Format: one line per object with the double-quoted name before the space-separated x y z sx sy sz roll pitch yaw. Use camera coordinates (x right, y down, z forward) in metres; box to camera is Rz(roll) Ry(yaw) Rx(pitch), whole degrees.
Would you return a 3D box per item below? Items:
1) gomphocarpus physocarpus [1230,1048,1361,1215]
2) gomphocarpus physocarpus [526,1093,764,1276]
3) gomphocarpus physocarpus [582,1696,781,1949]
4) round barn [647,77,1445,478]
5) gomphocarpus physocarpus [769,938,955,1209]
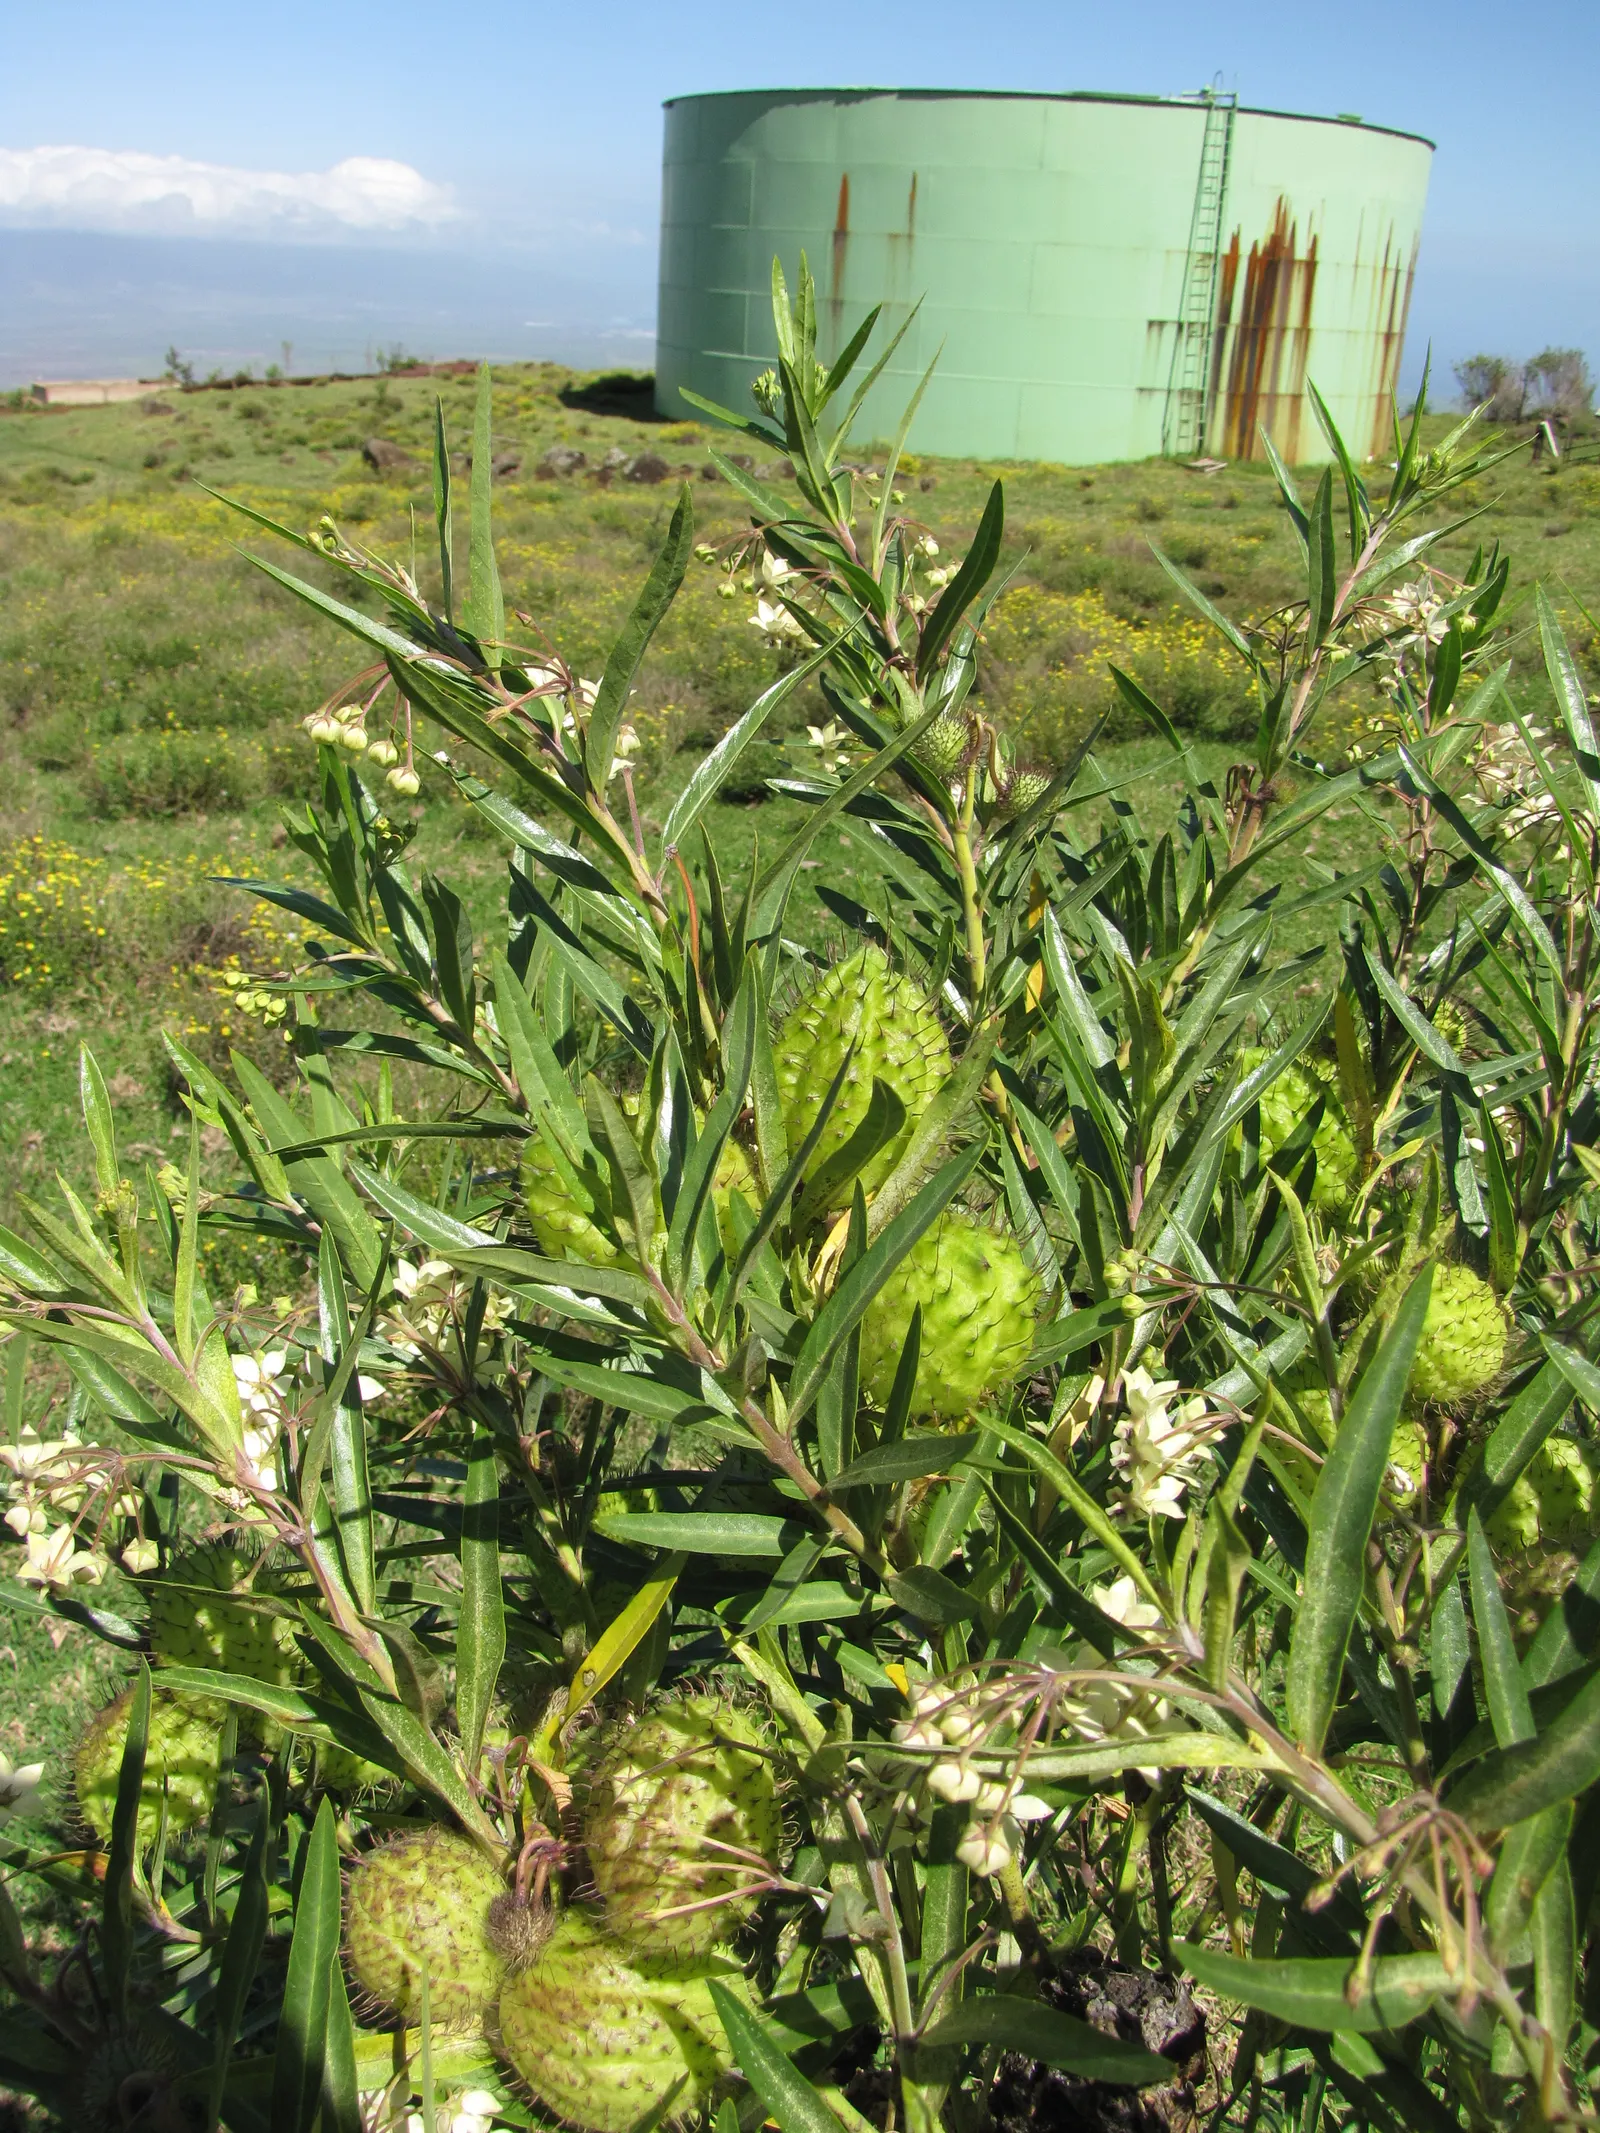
"gomphocarpus physocarpus" 0.408 0.060 1.402 0.052 0.119 0.092 -36 14 -24
"gomphocarpus physocarpus" -0.095 0.082 0.998 0.117 0.081 0.105 -9 9 38
"gomphocarpus physocarpus" -0.063 0.405 0.902 0.109 0.113 0.116 1 19 -10
"round barn" 5.030 -15.299 33.566 14.801 6.739 6.204 4 19 0
"gomphocarpus physocarpus" 0.040 0.002 1.057 0.136 0.154 0.139 5 10 23
